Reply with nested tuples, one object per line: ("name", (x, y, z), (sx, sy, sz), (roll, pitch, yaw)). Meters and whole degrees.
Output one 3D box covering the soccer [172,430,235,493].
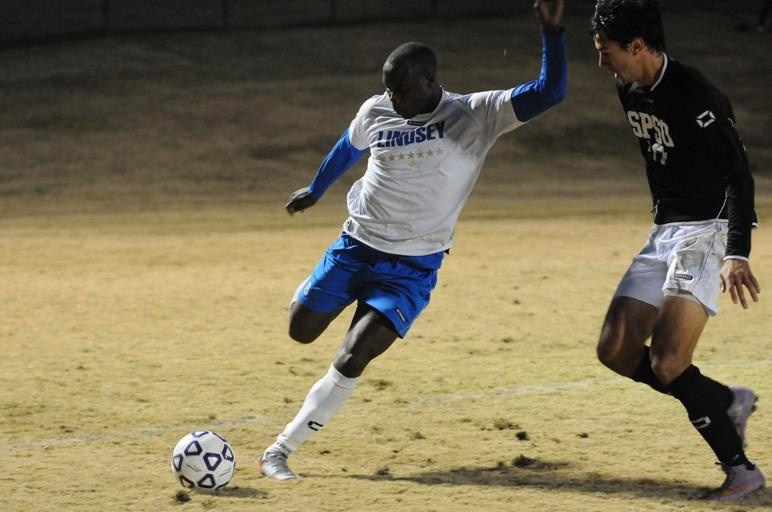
("soccer", (-1.854, 2.159, 15.353), (0.823, 0.531, 0.601), (3, -18, -5))
